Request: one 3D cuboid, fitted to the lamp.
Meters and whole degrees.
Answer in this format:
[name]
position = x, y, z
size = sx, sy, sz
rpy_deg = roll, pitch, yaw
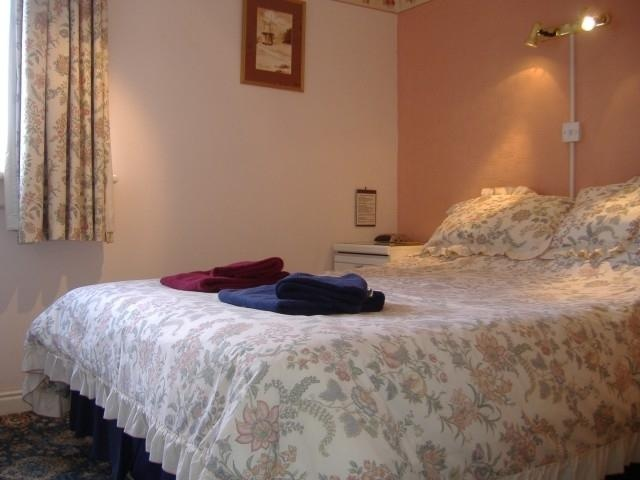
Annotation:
[lamp]
position = 1.597, -1.374, 3.254
size = 0.258, 0.204, 0.501
rpy_deg = -2, 3, -27
